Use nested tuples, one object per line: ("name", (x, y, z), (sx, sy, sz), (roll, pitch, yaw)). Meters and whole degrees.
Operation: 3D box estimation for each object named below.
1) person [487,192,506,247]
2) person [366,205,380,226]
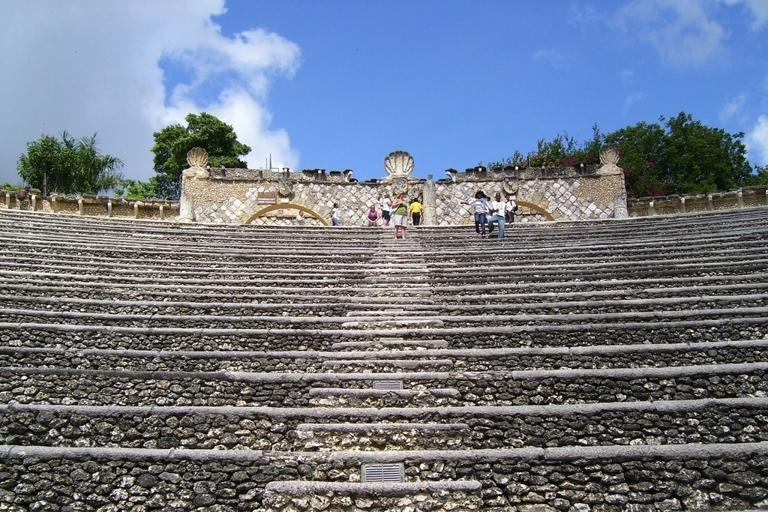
("person", (2.714, -0.924, 14.144), (0.387, 1.159, 0.797), (-2, -2, 10))
("person", (-0.383, -1.284, 18.482), (0.301, 0.679, 0.703), (-2, -1, -3))
